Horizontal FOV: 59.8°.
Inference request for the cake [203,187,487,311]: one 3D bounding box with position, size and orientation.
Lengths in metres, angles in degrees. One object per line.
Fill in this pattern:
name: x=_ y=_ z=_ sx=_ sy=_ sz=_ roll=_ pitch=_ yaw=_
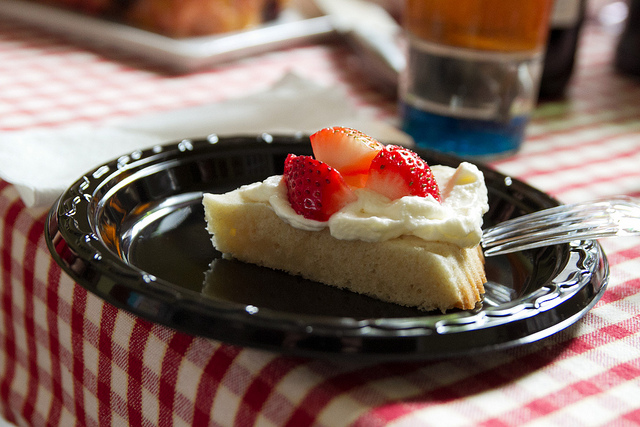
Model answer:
cake: x=0.087 y=-0.012 z=1.040 sx=0.415 sy=0.187 sz=0.331 roll=7 pitch=22 yaw=27
